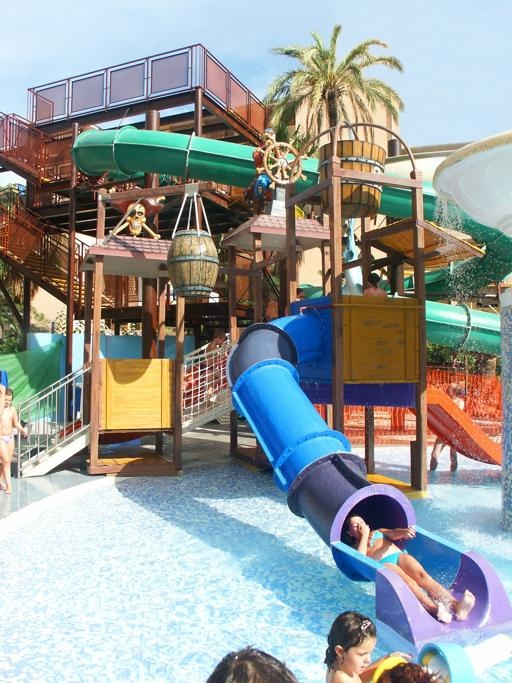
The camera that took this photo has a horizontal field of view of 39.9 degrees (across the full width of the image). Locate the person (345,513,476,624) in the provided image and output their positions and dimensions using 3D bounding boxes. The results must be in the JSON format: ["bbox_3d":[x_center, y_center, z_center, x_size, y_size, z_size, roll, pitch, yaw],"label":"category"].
[{"bbox_3d":[0.919,1.354,4.180,0.270,0.238,0.818,-6,18,-22],"label":"person"}]

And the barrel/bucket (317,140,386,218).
[{"bbox_3d":[0.932,-1.493,6.932,0.652,0.559,0.722,4,-13,-7],"label":"barrel/bucket"}]

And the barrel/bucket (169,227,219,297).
[{"bbox_3d":[-0.646,-0.778,7.134,0.574,0.703,0.647,0,-2,-14],"label":"barrel/bucket"}]
